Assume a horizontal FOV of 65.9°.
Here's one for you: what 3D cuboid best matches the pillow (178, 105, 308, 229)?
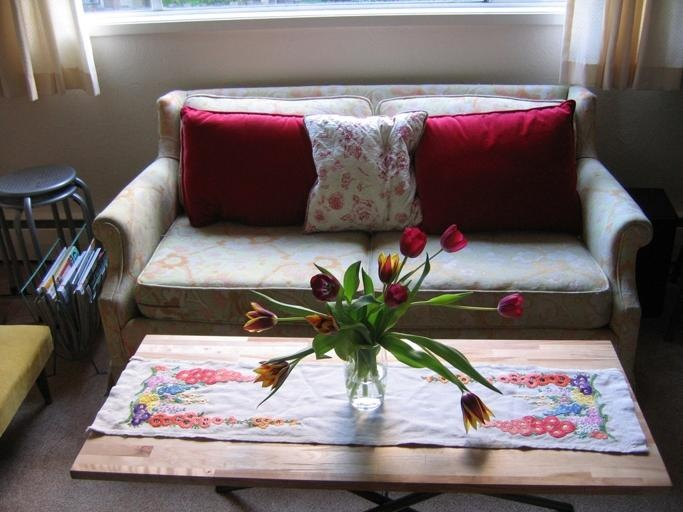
[{"bbox_3d":[-0.420,-0.409,2.322,0.631,0.432,0.231,-7,19,-39],"label":"pillow"}]

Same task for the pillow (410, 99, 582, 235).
[{"bbox_3d":[0.624,-0.345,2.150,0.673,0.483,0.222,-1,-19,6],"label":"pillow"}]

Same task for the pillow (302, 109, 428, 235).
[{"bbox_3d":[0.090,-0.355,2.249,0.570,0.497,0.206,-4,14,-9],"label":"pillow"}]

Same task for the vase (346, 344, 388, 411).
[{"bbox_3d":[0.065,0.325,1.408,0.122,0.163,0.110,-1,1,-20],"label":"vase"}]

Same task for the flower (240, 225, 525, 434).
[{"bbox_3d":[0.091,0.208,1.353,0.666,0.293,0.589,17,8,16],"label":"flower"}]
